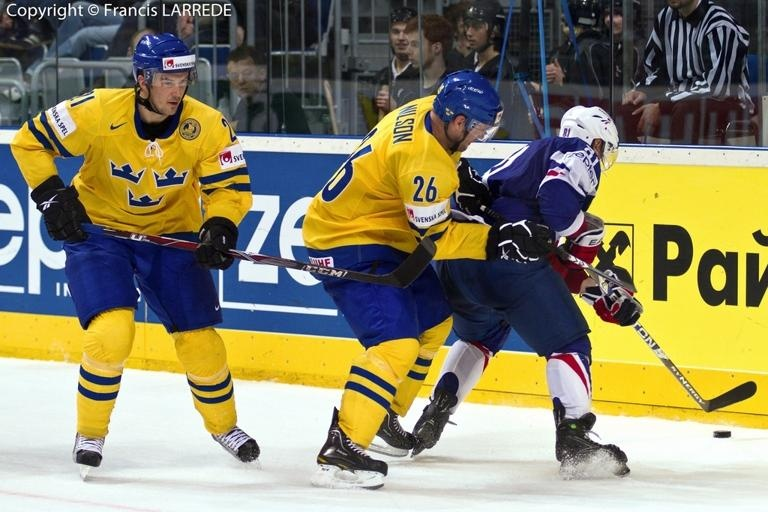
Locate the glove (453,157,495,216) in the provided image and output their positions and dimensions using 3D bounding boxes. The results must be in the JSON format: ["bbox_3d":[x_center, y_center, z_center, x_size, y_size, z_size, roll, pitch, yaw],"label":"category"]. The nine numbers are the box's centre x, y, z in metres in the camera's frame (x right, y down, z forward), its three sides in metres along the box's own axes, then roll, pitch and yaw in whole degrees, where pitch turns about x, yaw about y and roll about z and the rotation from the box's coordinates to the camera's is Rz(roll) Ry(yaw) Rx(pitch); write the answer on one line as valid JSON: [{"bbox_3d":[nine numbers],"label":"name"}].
[{"bbox_3d":[0.457,-0.336,5.748,0.090,0.290,0.166,-27,-15,17],"label":"glove"}]

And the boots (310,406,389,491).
[{"bbox_3d":[-0.171,0.944,5.418,0.371,0.375,0.156,2,11,9],"label":"boots"}]

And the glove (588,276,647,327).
[{"bbox_3d":[1.193,0.248,5.741,0.287,0.210,0.122,34,60,6],"label":"glove"}]

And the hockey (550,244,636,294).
[{"bbox_3d":[1.099,0.078,5.861,0.419,0.097,0.045,30,28,-24],"label":"hockey"}]

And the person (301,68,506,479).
[{"bbox_3d":[0.090,0.108,5.497,0.911,1.987,0.534,-2,11,-11],"label":"person"}]

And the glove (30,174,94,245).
[{"bbox_3d":[-1.597,-0.220,5.561,0.217,0.359,0.127,-25,-9,7],"label":"glove"}]

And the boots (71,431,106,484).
[{"bbox_3d":[-1.498,0.998,5.651,0.148,0.219,0.206,-4,12,-18],"label":"boots"}]

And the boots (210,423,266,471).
[{"bbox_3d":[-0.753,0.970,5.868,0.117,0.138,0.350,-34,47,-26],"label":"boots"}]

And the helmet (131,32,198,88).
[{"bbox_3d":[-1.051,-0.946,5.526,0.278,0.283,0.220,2,6,31],"label":"helmet"}]

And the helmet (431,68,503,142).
[{"bbox_3d":[0.369,-0.746,5.418,0.323,0.317,0.261,11,28,-11],"label":"helmet"}]
